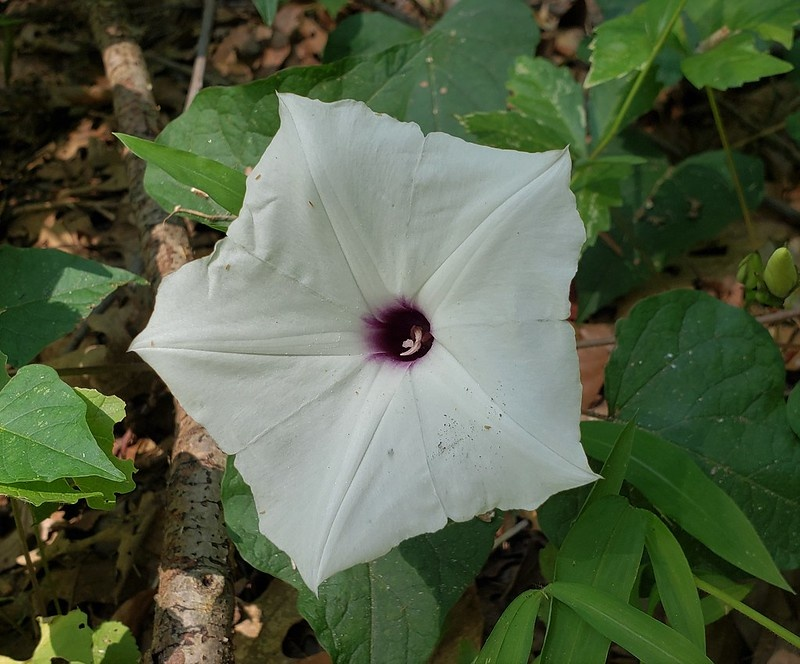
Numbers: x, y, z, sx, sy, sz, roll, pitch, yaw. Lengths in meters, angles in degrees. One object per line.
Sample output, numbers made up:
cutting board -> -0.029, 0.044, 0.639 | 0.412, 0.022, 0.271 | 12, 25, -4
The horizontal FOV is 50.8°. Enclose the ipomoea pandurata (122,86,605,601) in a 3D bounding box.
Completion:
ipomoea pandurata -> -0.095, 0.003, 2.265 | 1.128, 0.443, 1.220 | -2, 84, 0
